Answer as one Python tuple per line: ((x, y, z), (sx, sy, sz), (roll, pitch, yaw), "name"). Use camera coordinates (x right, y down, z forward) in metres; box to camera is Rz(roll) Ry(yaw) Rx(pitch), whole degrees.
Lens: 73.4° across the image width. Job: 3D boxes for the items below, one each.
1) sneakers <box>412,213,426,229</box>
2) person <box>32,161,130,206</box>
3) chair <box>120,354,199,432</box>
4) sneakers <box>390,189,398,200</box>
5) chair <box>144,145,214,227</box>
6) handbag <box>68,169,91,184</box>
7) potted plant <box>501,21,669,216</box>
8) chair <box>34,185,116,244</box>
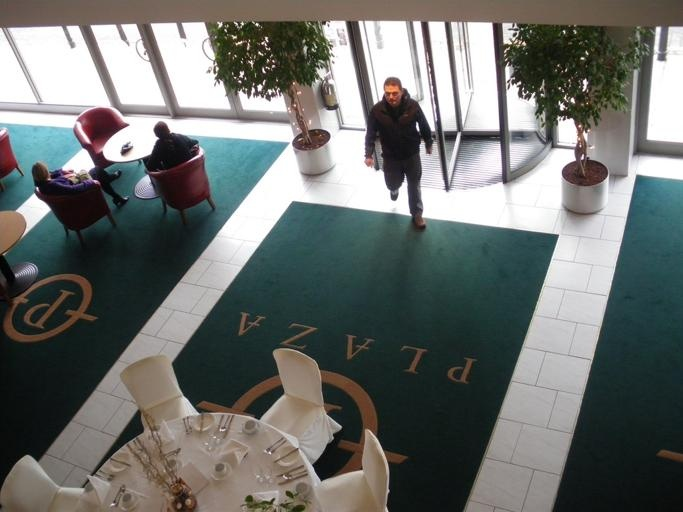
((1.112, -0.505, 6.606), (0.101, 0.123, 0.281), (-25, 27, -6), "sneakers")
((-4.163, -1.141, 7.387), (0.439, 0.735, 1.060), (34, 40, 30), "person")
((-1.818, 1.382, 4.550), (0.417, 0.725, 0.542), (-22, 69, 1), "chair")
((0.783, -0.906, 6.841), (0.061, 0.071, 0.188), (3, 78, 6), "sneakers")
((-2.569, -1.059, 7.178), (0.751, 0.887, 0.779), (-32, 61, -22), "chair")
((-4.020, -1.202, 7.081), (0.247, 0.139, 0.322), (8, 20, 2), "handbag")
((3.247, -1.786, 6.001), (1.531, 2.181, 1.205), (18, 56, 37), "potted plant")
((-4.163, -0.630, 7.172), (0.544, 0.689, 0.617), (16, 45, 13), "chair")
